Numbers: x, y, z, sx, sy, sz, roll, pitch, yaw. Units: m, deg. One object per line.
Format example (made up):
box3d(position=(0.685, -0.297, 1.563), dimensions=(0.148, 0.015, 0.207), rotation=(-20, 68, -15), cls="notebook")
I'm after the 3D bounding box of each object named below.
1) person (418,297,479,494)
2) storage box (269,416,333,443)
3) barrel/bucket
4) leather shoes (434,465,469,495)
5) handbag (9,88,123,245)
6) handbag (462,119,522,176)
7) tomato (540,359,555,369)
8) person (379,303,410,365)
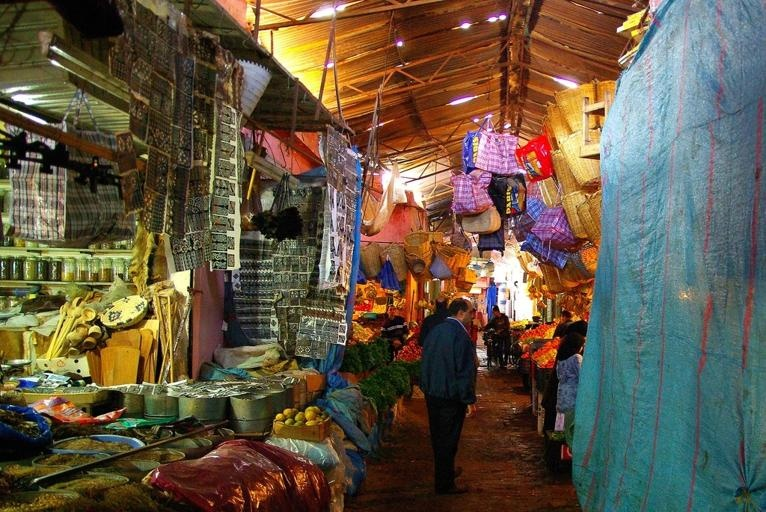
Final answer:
box3d(position=(0.642, 1.434, 6.057), dimensions=(0.617, 1.960, 0.382), rotation=(9, 0, 20), cls="person")
box3d(position=(-0.569, 1.353, 4.540), dimensions=(0.505, 0.168, 0.286), rotation=(9, 0, -32), cls="storage box")
box3d(position=(-1.297, 1.183, 4.677), dimensions=(1.457, 0.443, 0.728), rotation=(9, 0, -31), cls="barrel/bucket")
box3d(position=(0.732, 2.397, 6.155), dimensions=(0.138, 0.297, 0.425), rotation=(5, 8, 43), cls="leather shoes")
box3d(position=(-2.245, -0.655, 4.163), dimensions=(0.493, 1.216, 0.933), rotation=(-2, -4, 15), cls="handbag")
box3d(position=(1.626, -1.541, 8.798), dimensions=(0.871, 0.754, 0.501), rotation=(9, 0, 7), cls="handbag")
box3d(position=(2.417, 1.617, 8.716), dimensions=(0.225, 0.071, 0.233), rotation=(-4, 25, 33), cls="tomato")
box3d(position=(0.253, 1.680, 12.826), dimensions=(0.564, 1.081, 1.542), rotation=(9, 0, 1), cls="person")
